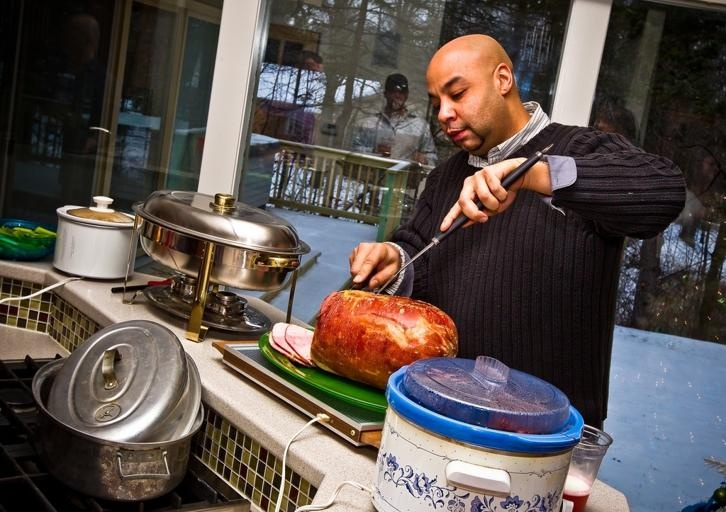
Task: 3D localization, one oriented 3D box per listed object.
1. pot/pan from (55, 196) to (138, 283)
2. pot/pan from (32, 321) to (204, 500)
[{"bbox_3d":[-1.016,-0.064,2.086,0.270,0.305,0.151,6,10,-17],"label":"pot/pan"},{"bbox_3d":[-0.532,0.347,1.263,0.323,0.333,0.256,13,10,24],"label":"pot/pan"}]
